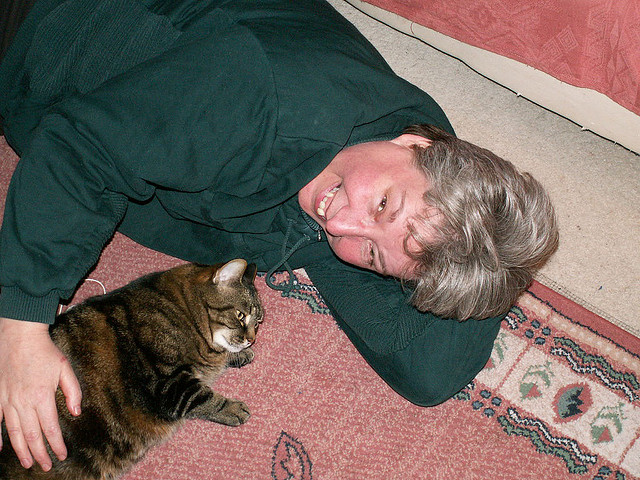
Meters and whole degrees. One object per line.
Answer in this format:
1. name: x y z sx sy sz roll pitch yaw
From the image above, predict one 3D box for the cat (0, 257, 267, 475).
1. cat: -0.495 0.318 2.031 0.841 0.418 0.400 -34 38 -6
